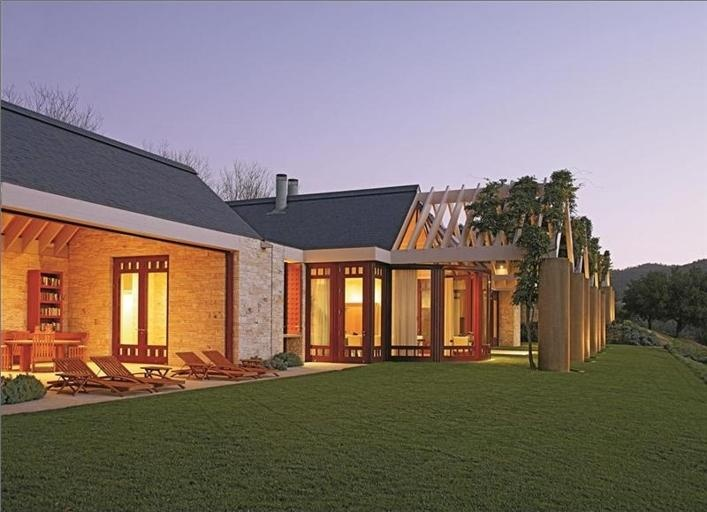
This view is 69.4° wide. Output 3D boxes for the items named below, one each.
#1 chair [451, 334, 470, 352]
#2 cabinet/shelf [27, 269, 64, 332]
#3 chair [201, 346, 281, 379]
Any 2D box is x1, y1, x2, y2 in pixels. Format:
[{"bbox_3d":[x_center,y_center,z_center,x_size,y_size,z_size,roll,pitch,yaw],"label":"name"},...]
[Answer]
[{"bbox_3d":[4.200,3.393,19.890,0.595,0.755,0.613,-1,-9,15],"label":"chair"},{"bbox_3d":[-10.170,1.485,16.898,0.560,1.983,1.294,1,-5,4],"label":"cabinet/shelf"},{"bbox_3d":[-3.399,3.001,14.134,1.798,0.544,0.960,-4,-6,29],"label":"chair"}]
